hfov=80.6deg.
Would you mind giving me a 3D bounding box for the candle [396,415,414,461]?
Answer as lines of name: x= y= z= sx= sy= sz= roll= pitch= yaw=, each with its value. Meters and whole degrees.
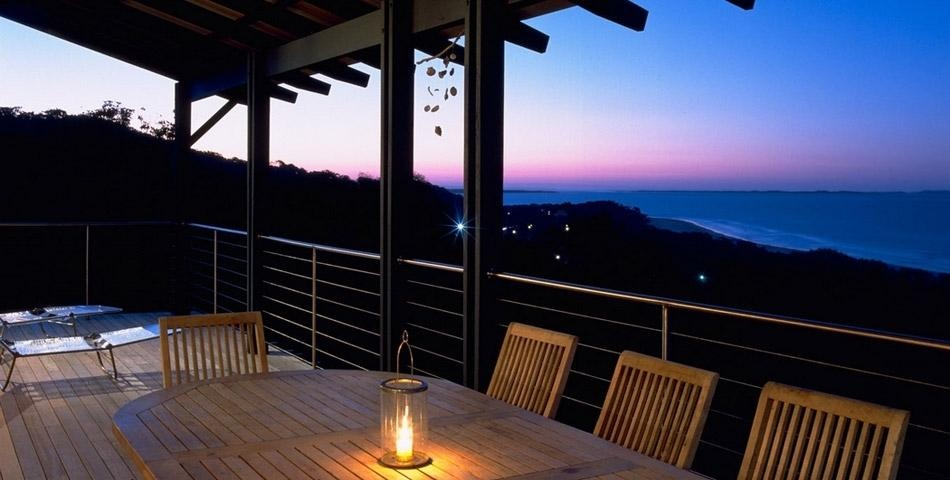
candle: x=-0.464 y=1.294 z=3.656 sx=0.120 sy=0.301 sz=0.043 roll=0 pitch=8 yaw=-9
